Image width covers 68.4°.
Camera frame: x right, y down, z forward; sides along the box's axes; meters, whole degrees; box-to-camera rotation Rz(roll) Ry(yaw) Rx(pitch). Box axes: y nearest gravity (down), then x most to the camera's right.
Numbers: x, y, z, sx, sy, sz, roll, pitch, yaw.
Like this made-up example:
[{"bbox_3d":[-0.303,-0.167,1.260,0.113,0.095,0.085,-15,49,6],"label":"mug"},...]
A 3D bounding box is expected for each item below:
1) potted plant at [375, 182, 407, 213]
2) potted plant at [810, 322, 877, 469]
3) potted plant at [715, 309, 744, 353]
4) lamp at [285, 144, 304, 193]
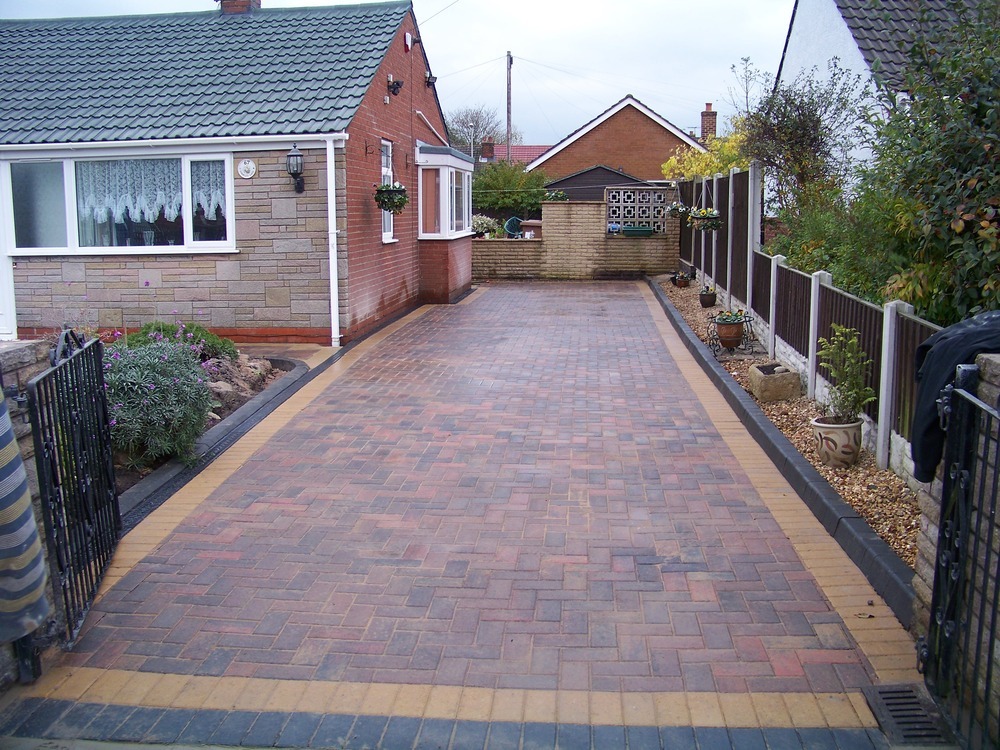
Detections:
[{"bbox_3d":[-2.194,-3.544,14.640,0.587,0.342,0.564,-1,14,-8],"label":"potted plant"},{"bbox_3d":[3.309,0.156,7.053,0.512,1.195,1.028,5,15,25],"label":"potted plant"},{"bbox_3d":[3.624,-0.722,11.787,0.586,0.622,0.595,-1,5,2],"label":"potted plant"},{"bbox_3d":[-3.549,-3.560,12.721,0.295,0.773,0.430,-5,15,-15],"label":"lamp"}]
